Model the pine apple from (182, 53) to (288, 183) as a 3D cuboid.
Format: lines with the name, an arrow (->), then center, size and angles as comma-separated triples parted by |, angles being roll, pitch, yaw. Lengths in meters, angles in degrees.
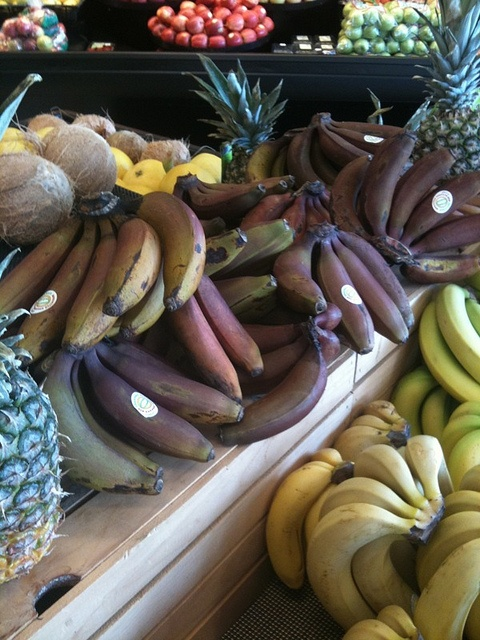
pine apple -> 0.055, -0.565, 1.653 | 0.346, 0.436, 0.269 | -9, 13, -42

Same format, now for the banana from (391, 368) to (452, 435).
banana -> 0.456, 0.212, 1.344 | 0.154, 0.057, 0.160 | 2, 75, -22

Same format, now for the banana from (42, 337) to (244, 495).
banana -> -0.166, 0.165, 0.798 | 0.252, 0.095, 0.202 | 34, 52, -5

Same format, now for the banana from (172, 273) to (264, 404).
banana -> -0.063, 0.011, 0.855 | 0.061, 0.115, 0.227 | -36, 54, 7

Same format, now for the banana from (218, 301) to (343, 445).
banana -> 0.078, 0.104, 0.854 | 0.218, 0.074, 0.266 | 10, 66, 27
